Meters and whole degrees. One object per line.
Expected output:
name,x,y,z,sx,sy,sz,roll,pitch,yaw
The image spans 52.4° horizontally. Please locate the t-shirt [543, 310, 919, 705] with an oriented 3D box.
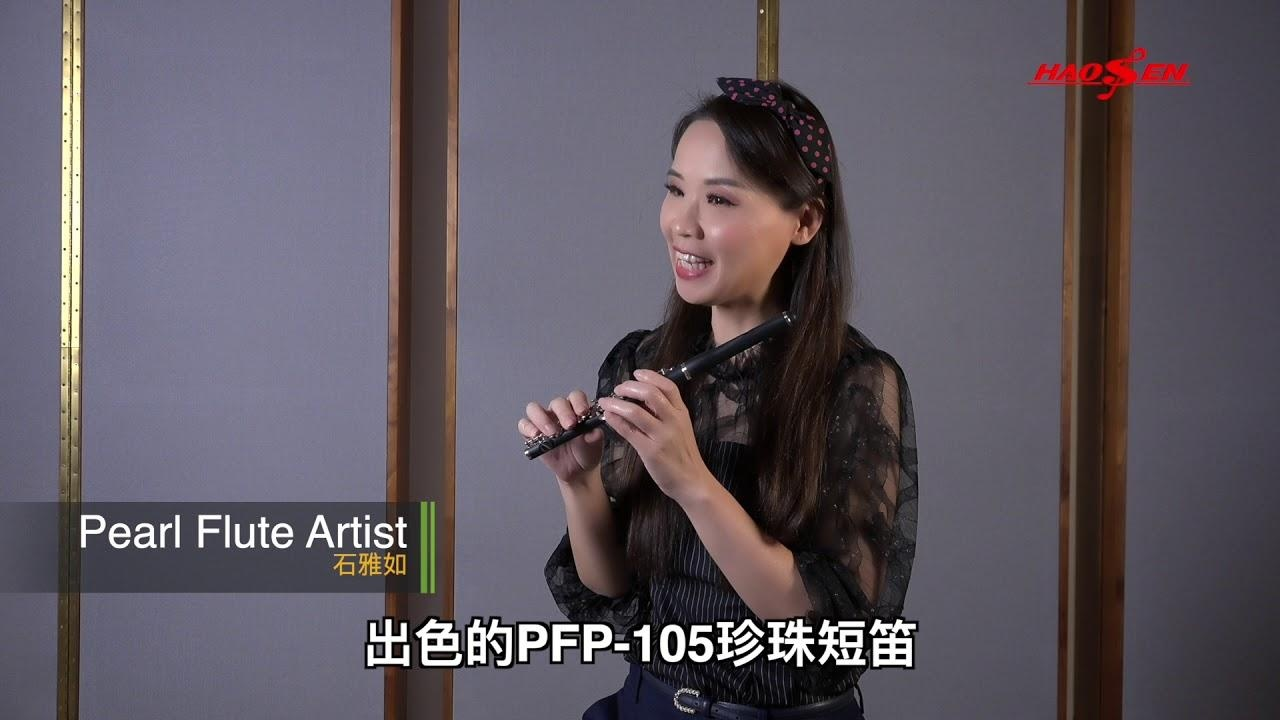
t-shirt,0.314,0.451,3.981,1.298,1.298,0.735,2,-2,40
